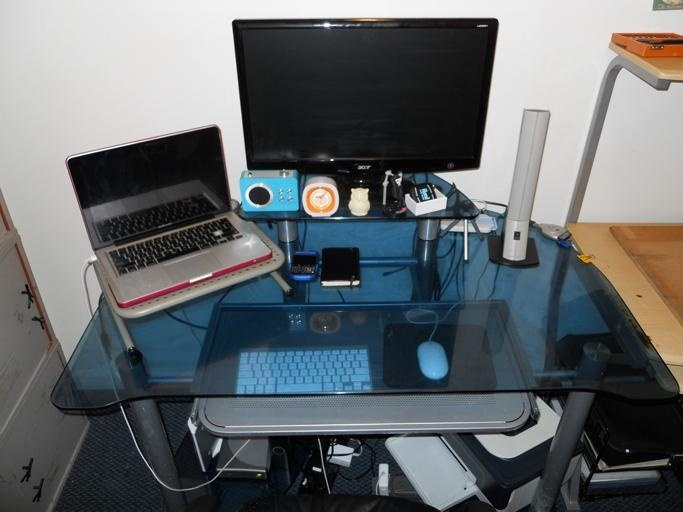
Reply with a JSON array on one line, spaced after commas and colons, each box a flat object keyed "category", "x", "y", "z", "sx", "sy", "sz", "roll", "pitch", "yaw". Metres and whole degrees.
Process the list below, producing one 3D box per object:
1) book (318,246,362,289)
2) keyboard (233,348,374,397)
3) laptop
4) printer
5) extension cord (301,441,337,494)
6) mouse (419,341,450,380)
[{"category": "book", "x": -0.004, "y": 0.031, "z": 1.671, "sx": 0.110, "sy": 0.028, "sz": 0.121, "roll": 0, "pitch": 43, "yaw": 2}, {"category": "keyboard", "x": -0.100, "y": 0.314, "z": 1.388, "sx": 0.356, "sy": 0.032, "sz": 0.131, "roll": -2, "pitch": 35, "yaw": -1}, {"category": "laptop", "x": -0.542, "y": -0.137, "z": 1.709, "sx": 0.660, "sy": 0.543, "sz": 0.514, "roll": -24, "pitch": 40, "yaw": -33}, {"category": "printer", "x": 0.436, "y": 0.684, "z": 1.741, "sx": 0.453, "sy": 0.301, "sz": 0.467, "roll": -24, "pitch": 44, "yaw": -10}, {"category": "extension cord", "x": -0.085, "y": 0.791, "z": 1.915, "sx": 0.129, "sy": 0.179, "sz": 0.123, "roll": -2, "pitch": 32, "yaw": -7}, {"category": "mouse", "x": 0.248, "y": 0.280, "z": 1.404, "sx": 0.080, "sy": 0.031, "sz": 0.122, "roll": -12, "pitch": 47, "yaw": -3}]
